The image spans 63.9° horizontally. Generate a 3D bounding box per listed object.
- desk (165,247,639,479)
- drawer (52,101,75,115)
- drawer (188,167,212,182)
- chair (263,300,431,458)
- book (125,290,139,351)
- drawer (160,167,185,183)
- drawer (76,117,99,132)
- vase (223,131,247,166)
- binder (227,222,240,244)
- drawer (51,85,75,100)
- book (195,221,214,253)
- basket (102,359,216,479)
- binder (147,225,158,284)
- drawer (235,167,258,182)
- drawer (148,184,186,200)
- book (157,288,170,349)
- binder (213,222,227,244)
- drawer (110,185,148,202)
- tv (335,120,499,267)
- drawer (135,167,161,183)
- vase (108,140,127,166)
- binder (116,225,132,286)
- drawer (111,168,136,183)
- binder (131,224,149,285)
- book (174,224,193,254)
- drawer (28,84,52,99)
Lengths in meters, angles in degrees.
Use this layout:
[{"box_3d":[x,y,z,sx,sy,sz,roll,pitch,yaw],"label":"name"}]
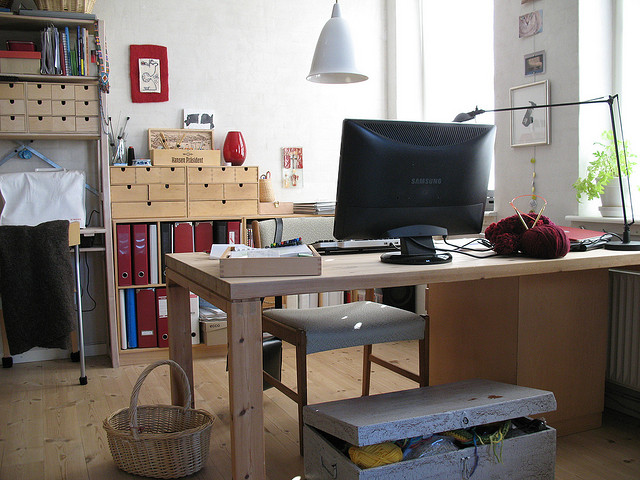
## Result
[{"box_3d":[0.364,0.396,2.273,2.111,0.719,0.876,-2,8,-10],"label":"desk"},{"box_3d":[-1.733,-0.892,3.464,0.152,0.110,0.083,-2,8,-26],"label":"drawer"},{"box_3d":[-0.883,-0.484,3.775,0.166,0.118,0.094,-1,2,-19],"label":"drawer"},{"box_3d":[0.100,0.690,2.764,0.766,0.671,0.696,-1,3,-31],"label":"chair"},{"box_3d":[-1.368,0.591,3.723,0.072,0.332,0.316,-5,-4,-9],"label":"book"},{"box_3d":[-1.073,-0.476,3.723,0.169,0.111,0.028,-2,8,-11],"label":"drawer"},{"box_3d":[-1.598,-0.797,3.511,0.107,0.070,0.106,-2,7,-21],"label":"drawer"},{"box_3d":[-0.628,-0.709,4.008,0.218,0.319,0.229,1,4,-3],"label":"vase"},{"box_3d":[-0.659,-0.053,3.899,0.128,0.195,0.138,-1,5,-14],"label":"binder"},{"box_3d":[-1.732,-0.995,3.450,0.103,0.068,0.103,-3,10,-27],"label":"drawer"},{"box_3d":[-0.866,-0.034,3.838,0.148,0.213,0.101,-3,8,-14],"label":"book"},{"box_3d":[-0.807,0.771,2.578,0.623,0.580,0.513,0,0,27],"label":"basket"},{"box_3d":[-1.225,0.083,3.729,0.119,0.387,0.380,-1,5,-15],"label":"binder"},{"box_3d":[-0.563,-0.514,3.912,0.118,0.077,0.119,0,10,-6],"label":"drawer"},{"box_3d":[-1.109,-0.351,3.717,0.257,0.113,0.035,-2,8,-11],"label":"drawer"},{"box_3d":[-1.149,0.564,3.716,0.072,0.473,0.176,-3,8,-19],"label":"book"},{"box_3d":[-0.749,-0.050,3.876,0.131,0.203,0.137,0,3,-9],"label":"binder"},{"box_3d":[-1.359,-0.338,3.649,0.248,0.119,0.026,-3,8,-12],"label":"drawer"},{"box_3d":[0.414,-0.205,2.131,0.653,0.591,0.260,-1,7,-10],"label":"tv"},{"box_3d":[-1.236,-0.456,3.676,0.122,0.081,0.120,-2,6,-22],"label":"drawer"},{"box_3d":[-1.494,-0.655,3.784,0.125,0.184,0.188,-4,8,-21],"label":"vase"},{"box_3d":[-1.408,0.105,3.675,0.097,0.436,0.028,-3,8,-17],"label":"binder"},{"box_3d":[-1.394,-0.459,3.628,0.112,0.075,0.111,0,9,-9],"label":"drawer"},{"box_3d":[-1.305,0.104,3.711,0.117,0.434,0.050,-4,8,-20],"label":"binder"},{"box_3d":[-1.009,-0.017,3.775,0.137,0.195,0.058,-3,8,-12],"label":"book"},{"box_3d":[-1.867,-0.989,3.411,0.099,0.065,0.099,-1,11,-15],"label":"drawer"}]
